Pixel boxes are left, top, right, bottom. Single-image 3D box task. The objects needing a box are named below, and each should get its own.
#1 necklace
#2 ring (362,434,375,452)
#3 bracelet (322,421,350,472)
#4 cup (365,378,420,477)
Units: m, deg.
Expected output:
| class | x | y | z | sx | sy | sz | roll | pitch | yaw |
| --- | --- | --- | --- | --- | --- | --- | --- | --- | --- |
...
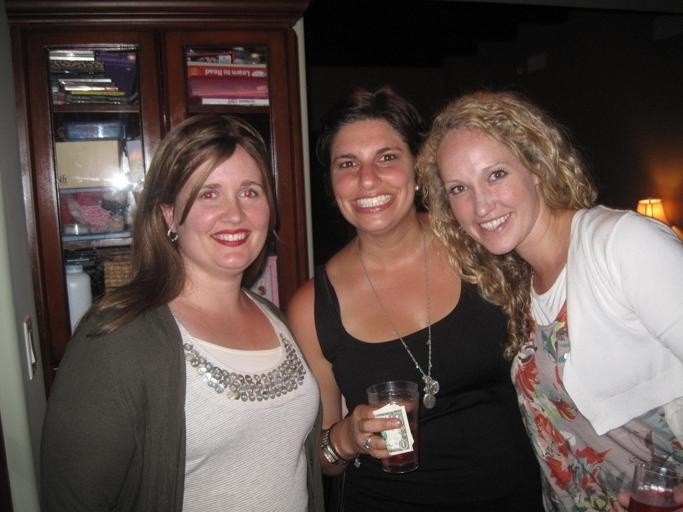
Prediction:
| class | x | y | z | sx | sy | sz | roll | pitch | yaw |
| --- | --- | --- | --- | --- | --- | --- | --- | --- | --- |
| necklace | 0.338 | 0.264 | 2.649 | 0.267 | 0.854 | 0.024 | -3 | -23 | -11 |
| ring | 0.109 | 0.746 | 2.257 | 0.038 | 0.066 | 0.056 | 13 | 2 | 0 |
| bracelet | 0.012 | 0.852 | 2.533 | 0.072 | 0.195 | 0.167 | -14 | 44 | -27 |
| cup | 0.221 | 0.699 | 2.284 | 0.193 | 0.397 | 0.136 | -5 | 4 | -3 |
